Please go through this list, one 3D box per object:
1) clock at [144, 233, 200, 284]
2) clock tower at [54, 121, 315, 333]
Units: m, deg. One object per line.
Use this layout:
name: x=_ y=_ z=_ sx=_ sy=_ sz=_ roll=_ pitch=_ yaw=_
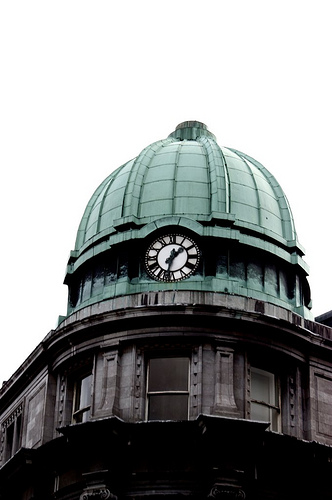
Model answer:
clock: x=0.375 y=0.474 z=35.233 sx=2.386 sy=2.403 sz=0.155 roll=5 pitch=-31 yaw=9
clock tower: x=1.250 y=-2.085 z=39.263 sx=11.278 sy=13.572 sz=4.009 roll=0 pitch=-50 yaw=5
